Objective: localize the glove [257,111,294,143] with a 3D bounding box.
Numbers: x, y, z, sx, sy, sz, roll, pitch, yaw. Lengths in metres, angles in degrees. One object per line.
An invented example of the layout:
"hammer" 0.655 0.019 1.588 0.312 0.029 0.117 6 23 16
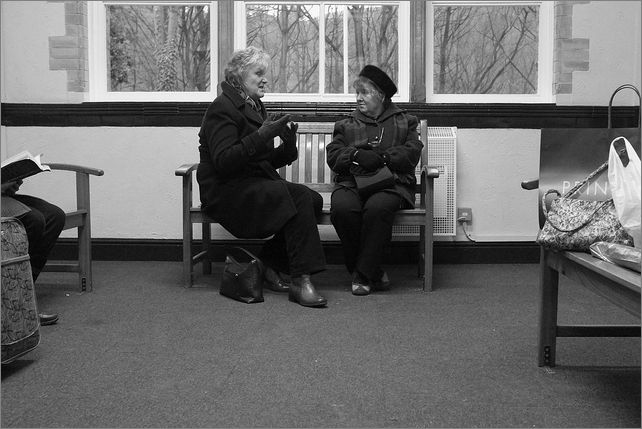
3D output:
"glove" -0.347 -0.634 4.046 0.314 0.180 0.165 -25 7 42

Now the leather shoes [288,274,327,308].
"leather shoes" -0.107 0.524 3.901 0.153 0.248 0.428 -5 6 -32

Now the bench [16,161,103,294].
"bench" -2.066 0.034 4.118 0.771 0.868 0.616 -1 3 -35

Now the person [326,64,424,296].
"person" 0.399 -0.316 4.408 0.787 1.723 0.644 -7 12 -37

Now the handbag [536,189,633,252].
"handbag" 1.273 0.040 2.661 0.138 0.284 0.446 -2 1 -32

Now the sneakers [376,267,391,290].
"sneakers" 0.492 0.508 4.311 0.141 0.182 0.397 -1 -6 4

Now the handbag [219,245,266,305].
"handbag" -0.584 0.430 4.039 0.397 0.389 0.174 8 7 42

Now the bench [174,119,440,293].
"bench" -0.100 -0.072 4.583 2.005 1.456 0.862 0 7 3

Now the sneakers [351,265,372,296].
"sneakers" 0.307 0.511 4.141 0.127 0.167 0.156 2 10 11
